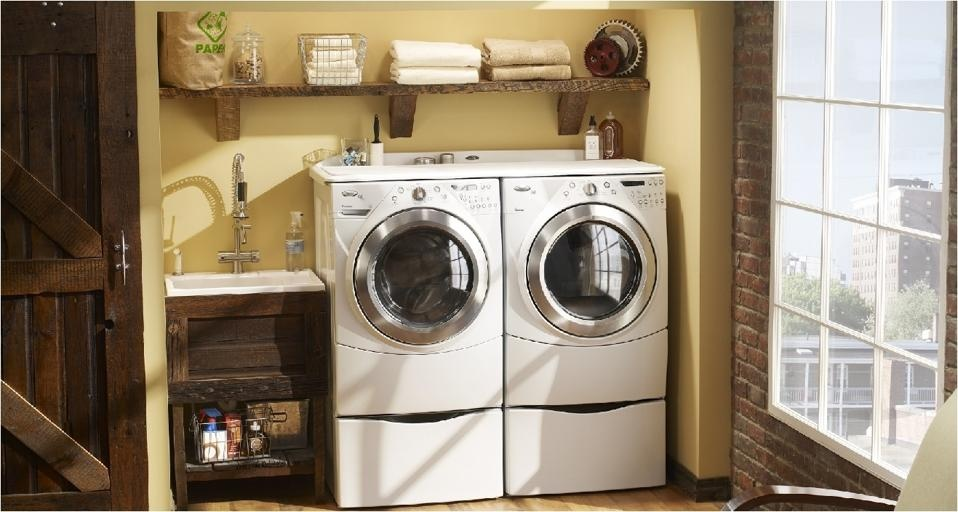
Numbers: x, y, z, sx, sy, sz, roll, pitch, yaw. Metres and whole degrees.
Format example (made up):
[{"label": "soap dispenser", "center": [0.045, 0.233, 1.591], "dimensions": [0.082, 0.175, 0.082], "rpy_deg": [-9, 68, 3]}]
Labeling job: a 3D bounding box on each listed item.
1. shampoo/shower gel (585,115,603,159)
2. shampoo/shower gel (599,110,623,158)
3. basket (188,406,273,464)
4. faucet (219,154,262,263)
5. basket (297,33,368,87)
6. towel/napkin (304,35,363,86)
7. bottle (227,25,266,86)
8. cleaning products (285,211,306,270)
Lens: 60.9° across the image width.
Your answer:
[{"label": "shampoo/shower gel", "center": [0.801, -0.838, 5.752], "dimensions": [0.121, 0.305, 0.270], "rpy_deg": [-2, 10, 8]}, {"label": "shampoo/shower gel", "center": [0.925, -0.842, 5.725], "dimensions": [0.159, 0.314, 0.084], "rpy_deg": [-2, 11, 5]}, {"label": "basket", "center": [-1.609, 1.175, 5.263], "dimensions": [0.503, 0.281, 0.348], "rpy_deg": [0, -4, -14]}, {"label": "faucet", "center": [-1.643, -0.285, 5.478], "dimensions": [0.264, 0.791, 0.227], "rpy_deg": [-6, 11, -14]}, {"label": "basket", "center": [-0.974, -1.261, 5.370], "dimensions": [0.406, 0.260, 0.379], "rpy_deg": [-2, 8, -11]}, {"label": "towel/napkin", "center": [-0.945, -1.284, 5.352], "dimensions": [0.383, 0.243, 0.355], "rpy_deg": [-1, 3, -20]}, {"label": "bottle", "center": [-1.535, -1.319, 5.394], "dimensions": [0.215, 0.372, 0.116], "rpy_deg": [-5, 11, -10]}, {"label": "cleaning products", "center": [-1.256, -0.101, 5.581], "dimensions": [0.148, 0.404, 0.159], "rpy_deg": [-5, 11, -11]}]
